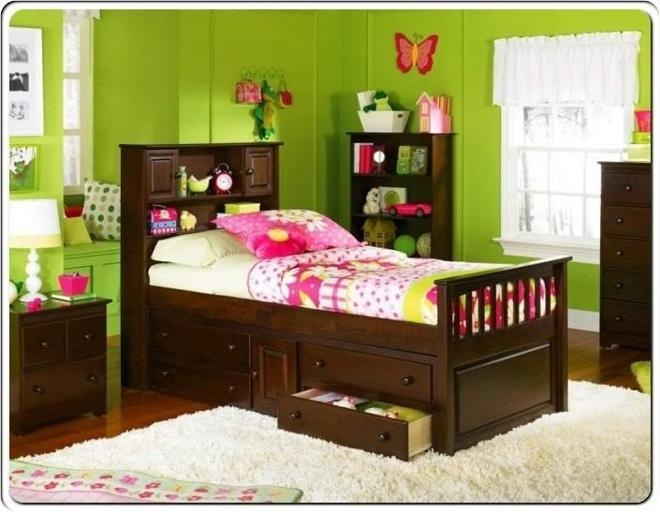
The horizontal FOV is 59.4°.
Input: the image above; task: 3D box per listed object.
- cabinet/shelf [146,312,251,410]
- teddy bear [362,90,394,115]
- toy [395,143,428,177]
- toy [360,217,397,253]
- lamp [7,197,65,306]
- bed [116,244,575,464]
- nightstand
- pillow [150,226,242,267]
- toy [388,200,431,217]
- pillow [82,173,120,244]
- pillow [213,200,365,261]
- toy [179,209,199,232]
[{"bbox_3d":[-0.774,0.653,3.788,0.814,0.513,0.265,5,9,26],"label":"cabinet/shelf"},{"bbox_3d":[0.483,-1.557,5.839,0.299,0.287,0.203,-8,12,-2],"label":"teddy bear"},{"bbox_3d":[0.810,-0.949,5.645,0.182,0.303,0.311,-5,7,-37],"label":"toy"},{"bbox_3d":[0.507,-0.276,5.934,0.402,0.470,0.307,8,12,39],"label":"toy"},{"bbox_3d":[-1.658,-0.040,3.309,0.266,0.576,0.342,-3,7,-27],"label":"lamp"},{"bbox_3d":[0.162,0.538,3.367,1.561,0.665,1.267,4,7,37],"label":"bed"},{"bbox_3d":[-2.194,0.993,5.269,0.979,0.950,0.519,-10,-19,24],"label":"nightstand"},{"bbox_3d":[-0.805,-0.112,3.815,0.301,0.111,0.383,10,13,43],"label":"pillow"},{"bbox_3d":[0.795,-0.468,5.644,0.306,0.101,0.158,2,7,19],"label":"toy"},{"bbox_3d":[-2.030,-0.425,5.242,0.504,0.476,0.154,0,-8,23],"label":"pillow"},{"bbox_3d":[-0.245,-0.168,3.986,0.553,0.150,0.527,0,20,-39],"label":"pillow"},{"bbox_3d":[-0.993,-0.242,4.094,0.147,0.149,0.111,6,7,39],"label":"toy"}]
